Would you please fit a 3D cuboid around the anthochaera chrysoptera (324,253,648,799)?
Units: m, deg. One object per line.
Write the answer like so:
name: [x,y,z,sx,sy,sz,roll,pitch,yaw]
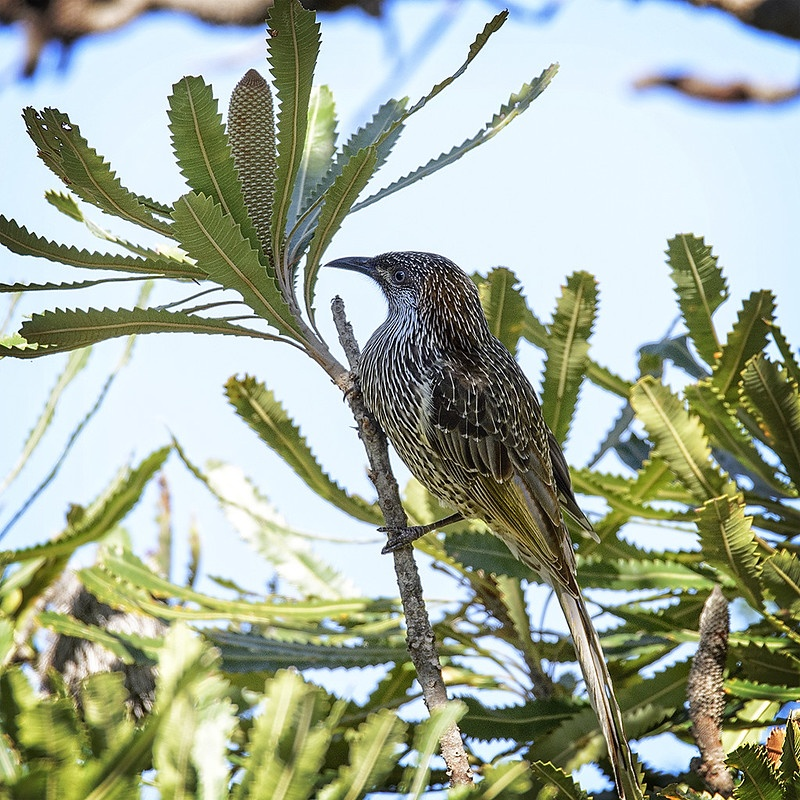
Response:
anthochaera chrysoptera: [0.169,0.154,3.626,0.528,1.469,0.666,-4,-22,-2]
